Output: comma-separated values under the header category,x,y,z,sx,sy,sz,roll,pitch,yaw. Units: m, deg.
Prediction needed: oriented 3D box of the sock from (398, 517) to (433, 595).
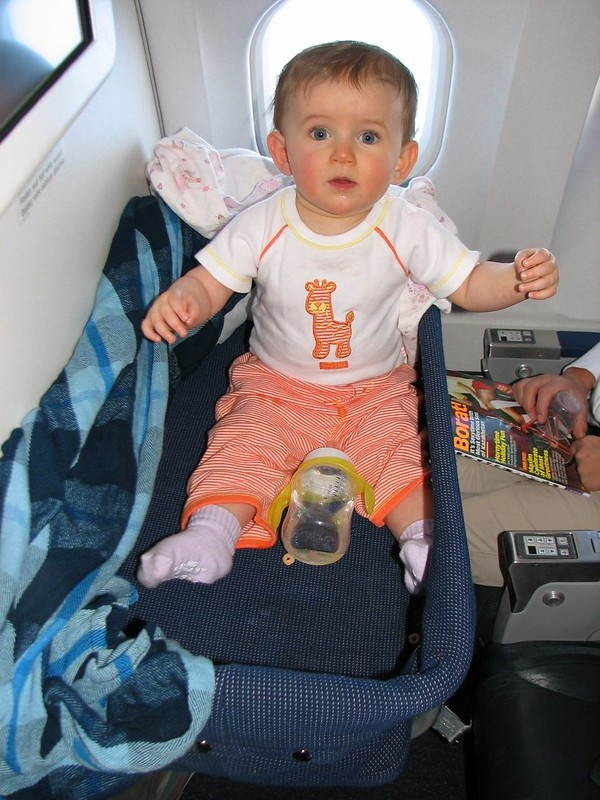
category,x,y,z,sx,sy,sz,roll,pitch,yaw
sock,0.179,0.237,0.887,0.039,0.061,0.094,3,58,16

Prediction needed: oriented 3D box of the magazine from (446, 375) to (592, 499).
category,x,y,z,sx,sy,sz,roll,pitch,yaw
magazine,0.403,0.089,1.183,0.245,0.035,0.262,16,38,-2

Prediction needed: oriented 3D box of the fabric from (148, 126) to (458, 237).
category,x,y,z,sx,sy,sz,roll,pitch,yaw
fabric,-0.011,-0.401,1.275,0.509,0.177,0.300,7,72,10

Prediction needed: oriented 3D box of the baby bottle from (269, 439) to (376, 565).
category,x,y,z,sx,sy,sz,roll,pitch,yaw
baby bottle,0.015,0.150,0.981,0.210,0.194,0.135,-4,48,-6

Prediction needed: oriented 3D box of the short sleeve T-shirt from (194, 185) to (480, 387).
category,x,y,z,sx,sy,sz,roll,pitch,yaw
short sleeve T-shirt,0.071,-0.208,1.093,0.507,0.321,0.185,-1,30,0

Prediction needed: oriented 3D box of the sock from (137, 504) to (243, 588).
category,x,y,z,sx,sy,sz,roll,pitch,yaw
sock,-0.158,0.216,0.916,0.130,0.095,0.245,-3,11,3
